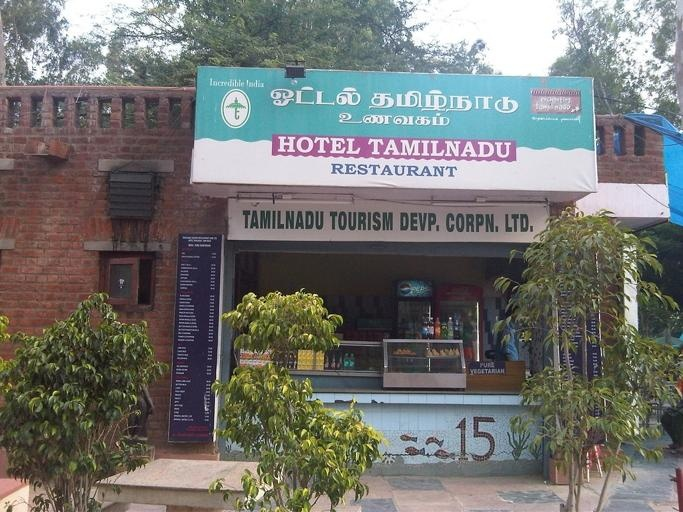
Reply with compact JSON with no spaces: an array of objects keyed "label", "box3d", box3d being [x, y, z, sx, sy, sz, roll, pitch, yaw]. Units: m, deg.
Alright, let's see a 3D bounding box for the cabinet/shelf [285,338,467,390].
[{"label":"cabinet/shelf","box3d":[0.702,1.806,13.318,2.704,0.849,0.404,-2,-8,7]}]
